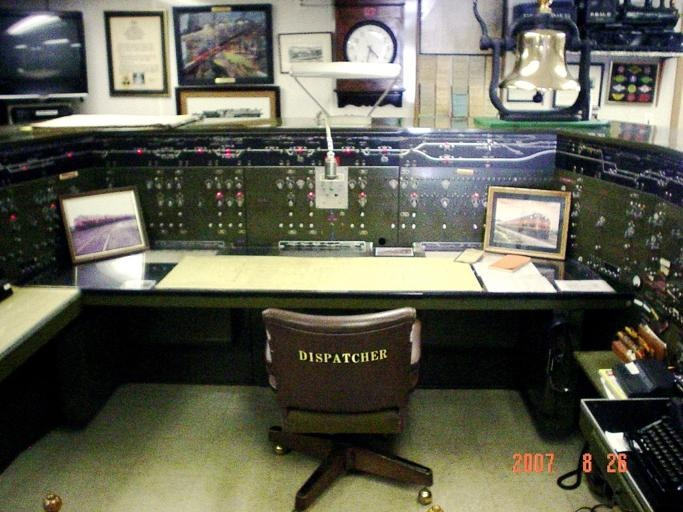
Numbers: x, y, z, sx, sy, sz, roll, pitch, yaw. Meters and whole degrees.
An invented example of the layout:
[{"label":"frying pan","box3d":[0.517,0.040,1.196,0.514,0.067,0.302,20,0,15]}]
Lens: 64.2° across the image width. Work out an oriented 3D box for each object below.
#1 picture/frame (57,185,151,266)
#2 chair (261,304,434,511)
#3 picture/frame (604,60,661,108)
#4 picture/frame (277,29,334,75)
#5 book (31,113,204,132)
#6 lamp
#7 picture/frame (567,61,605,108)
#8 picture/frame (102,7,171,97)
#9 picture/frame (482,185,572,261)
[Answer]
[{"label":"picture/frame","box3d":[-1.344,-0.167,3.061,0.381,0.382,0.028,-16,6,-32]},{"label":"chair","box3d":[0.018,0.564,2.800,0.936,1.090,0.923,0,24,0]},{"label":"picture/frame","box3d":[2.824,-1.708,5.291,0.415,0.412,0.044,1,16,2]},{"label":"picture/frame","box3d":[-0.342,-1.973,5.285,0.538,0.399,0.016,0,7,1]},{"label":"book","box3d":[-1.374,-0.828,3.344,0.970,0.046,0.644,-3,23,-5]},{"label":"lamp","box3d":[-0.001,-0.736,2.952,0.620,0.616,0.638,-1,7,-10]},{"label":"picture/frame","box3d":[2.351,-1.663,5.256,0.297,0.422,0.350,15,28,34]},{"label":"picture/frame","box3d":[-2.003,-2.071,5.396,0.792,0.976,0.068,1,17,-1]},{"label":"picture/frame","box3d":[1.049,-0.181,3.032,0.373,0.333,0.028,8,5,22]}]
